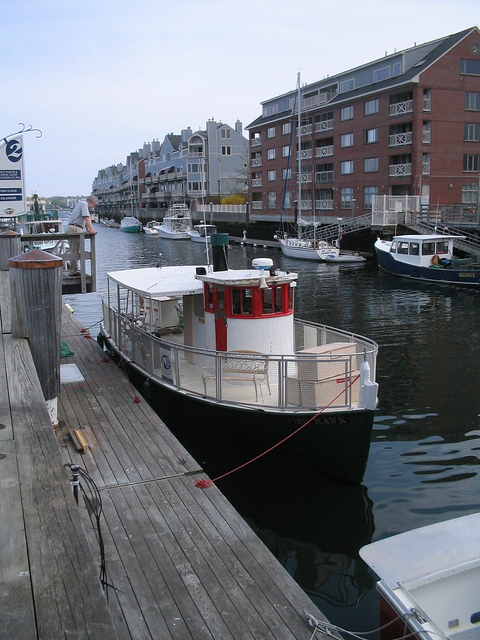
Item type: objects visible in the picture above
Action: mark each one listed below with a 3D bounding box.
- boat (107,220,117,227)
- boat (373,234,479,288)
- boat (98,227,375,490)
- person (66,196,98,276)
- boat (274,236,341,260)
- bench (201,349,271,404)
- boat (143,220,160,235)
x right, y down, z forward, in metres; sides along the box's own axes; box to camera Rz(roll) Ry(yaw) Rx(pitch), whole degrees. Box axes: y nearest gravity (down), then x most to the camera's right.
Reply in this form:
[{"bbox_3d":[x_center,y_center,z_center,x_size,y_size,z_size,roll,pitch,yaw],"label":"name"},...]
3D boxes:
[{"bbox_3d":[-27.299,-20.683,117.435,1.923,1.266,2.834,2,10,-2],"label":"boat"},{"bbox_3d":[10.926,-3.639,31.676,2.217,2.320,6.896,-7,18,-27],"label":"boat"},{"bbox_3d":[-0.244,0.294,10.810,2.815,3.157,7.504,-8,18,-26],"label":"boat"},{"bbox_3d":[-3.328,-1.778,11.681,0.646,1.662,3.025,-4,11,-16],"label":"person"},{"bbox_3d":[5.507,-5.633,43.780,1.692,1.431,5.826,-6,20,-34],"label":"boat"},{"bbox_3d":[-0.075,0.847,8.772,0.979,0.899,1.645,-3,11,-11],"label":"bench"},{"bbox_3d":[-13.669,-14.382,85.393,2.496,2.073,5.053,-6,15,-20],"label":"boat"}]
